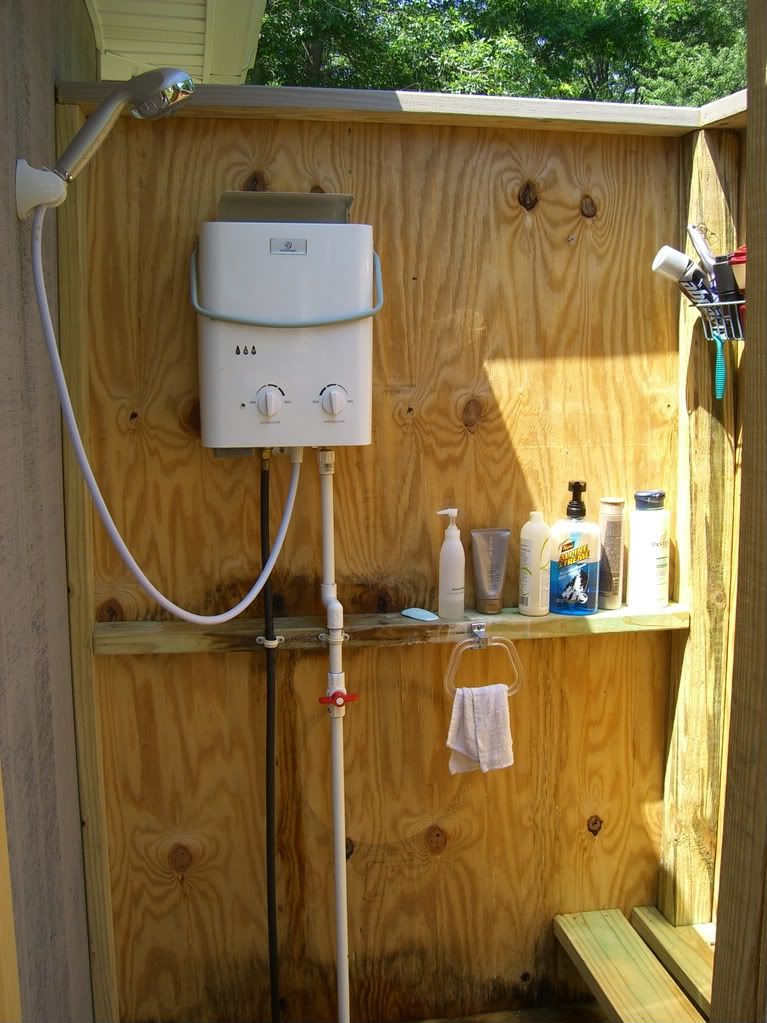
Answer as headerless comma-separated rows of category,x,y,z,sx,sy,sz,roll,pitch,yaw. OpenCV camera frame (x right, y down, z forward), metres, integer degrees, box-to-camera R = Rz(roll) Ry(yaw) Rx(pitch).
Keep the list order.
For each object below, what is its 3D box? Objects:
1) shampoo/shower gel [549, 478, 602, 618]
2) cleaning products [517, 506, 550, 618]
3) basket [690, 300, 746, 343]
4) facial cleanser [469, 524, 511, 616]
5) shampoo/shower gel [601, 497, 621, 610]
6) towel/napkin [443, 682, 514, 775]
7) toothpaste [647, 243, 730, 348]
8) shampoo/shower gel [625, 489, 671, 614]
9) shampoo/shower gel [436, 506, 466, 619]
shampoo/shower gel,0.332,0.082,2.061,0.051,0.277,0.075,-2,16,-17
cleaning products,0.265,0.091,2.040,0.053,0.172,0.053,0,11,6
basket,0.570,-0.311,1.978,0.077,0.083,0.078,-1,-8,4
facial cleanser,0.185,0.103,2.064,0.065,0.144,0.053,0,11,7
shampoo/shower gel,0.410,0.072,2.105,0.054,0.194,0.056,-2,11,-6
towel/napkin,0.166,0.370,2.028,0.118,0.151,0.061,-3,11,-10
toothpaste,0.518,-0.342,1.993,0.113,0.186,0.199,3,4,39
shampoo/shower gel,0.469,0.064,2.099,0.074,0.213,0.061,4,12,24
shampoo/shower gel,0.117,0.088,2.041,0.048,0.198,0.131,0,12,4
